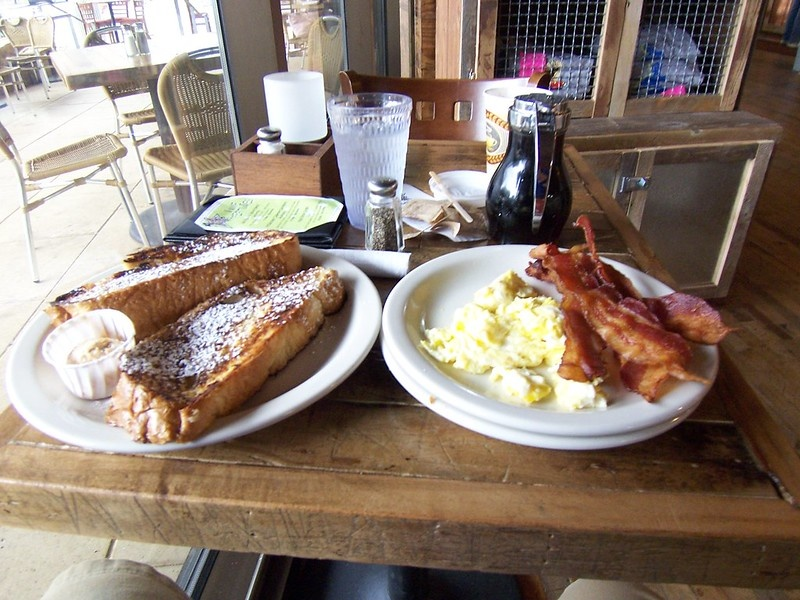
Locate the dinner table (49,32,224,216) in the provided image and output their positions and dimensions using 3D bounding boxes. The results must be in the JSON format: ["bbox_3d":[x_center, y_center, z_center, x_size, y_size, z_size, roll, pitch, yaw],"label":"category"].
[{"bbox_3d":[-1.127,-0.872,2.696,0.707,0.521,0.575,-7,39,-10],"label":"dinner table"}]

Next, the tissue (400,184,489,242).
[{"bbox_3d":[0.080,-0.171,1.205,0.151,0.027,0.127,24,46,25],"label":"tissue"}]

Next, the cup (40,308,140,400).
[{"bbox_3d":[-0.436,0.075,0.897,0.164,0.088,0.131,-6,43,-6],"label":"cup"}]
